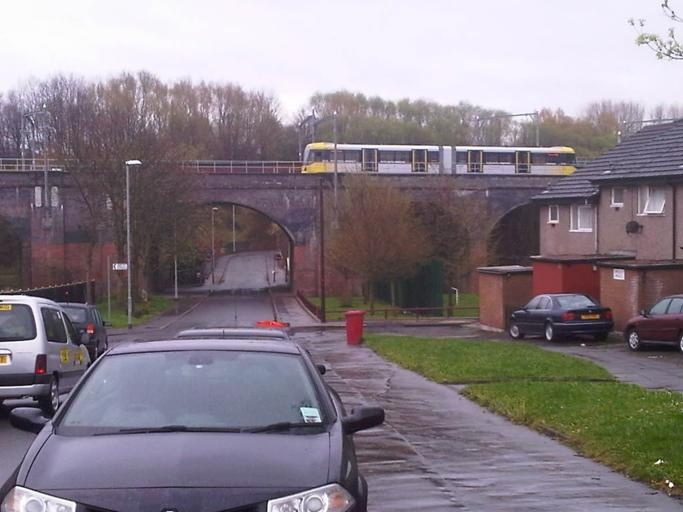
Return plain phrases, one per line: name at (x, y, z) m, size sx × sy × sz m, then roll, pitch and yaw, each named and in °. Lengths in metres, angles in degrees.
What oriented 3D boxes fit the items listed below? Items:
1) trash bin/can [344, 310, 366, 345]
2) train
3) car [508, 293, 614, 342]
trash bin/can at (0.432, 2.416, 35.691) m, size 0.813 × 1.063 × 0.807 m, roll -3°, pitch 5°, yaw -19°
train at (6.467, -6.455, 70.122) m, size 17.656 × 2.124 × 3.517 m, roll -1°, pitch 5°, yaw -7°
car at (6.834, 1.951, 33.788) m, size 1.330 × 1.025 × 2.956 m, roll 1°, pitch 0°, yaw -15°
